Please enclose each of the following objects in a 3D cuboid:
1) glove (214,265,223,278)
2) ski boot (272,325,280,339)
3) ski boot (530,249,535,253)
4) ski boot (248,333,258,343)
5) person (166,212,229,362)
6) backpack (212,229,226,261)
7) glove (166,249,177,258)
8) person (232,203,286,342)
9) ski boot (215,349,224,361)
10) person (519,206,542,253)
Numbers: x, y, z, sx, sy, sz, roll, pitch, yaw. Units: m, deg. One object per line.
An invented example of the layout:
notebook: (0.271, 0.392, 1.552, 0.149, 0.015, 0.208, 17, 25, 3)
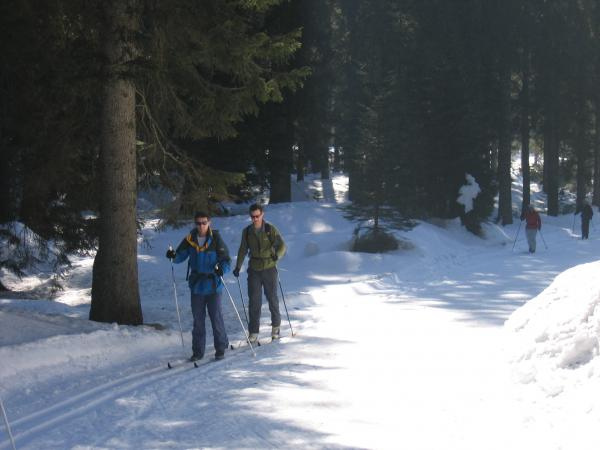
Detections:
glove: (-1.647, 0.953, 16.025, 0.170, 0.194, 0.044, 1, -7, 28)
ski boot: (-0.522, 2.357, 17.158, 0.097, 0.327, 0.226, -4, 46, 6)
ski boot: (8.262, 0.939, 27.598, 0.241, 0.108, 0.141, -10, 13, -34)
ski boot: (-1.015, 2.449, 16.922, 0.126, 0.170, 0.184, -2, 8, 12)
person: (-1.986, 1.272, 16.112, 1.055, 3.006, 0.989, -1, 10, 7)
backpack: (-1.676, 0.418, 16.212, 0.176, 0.527, 0.371, -17, 19, 5)
glove: (-2.650, 0.607, 16.216, 0.207, 0.202, 0.241, -4, 11, -10)
person: (-0.830, 1.056, 17.065, 1.028, 2.951, 0.834, -4, 10, -7)
ski boot: (-1.635, 2.657, 15.910, 0.178, 0.134, 0.235, -3, 11, -5)
person: (8.237, 0.146, 27.671, 0.588, 1.682, 0.731, 0, 11, 15)
